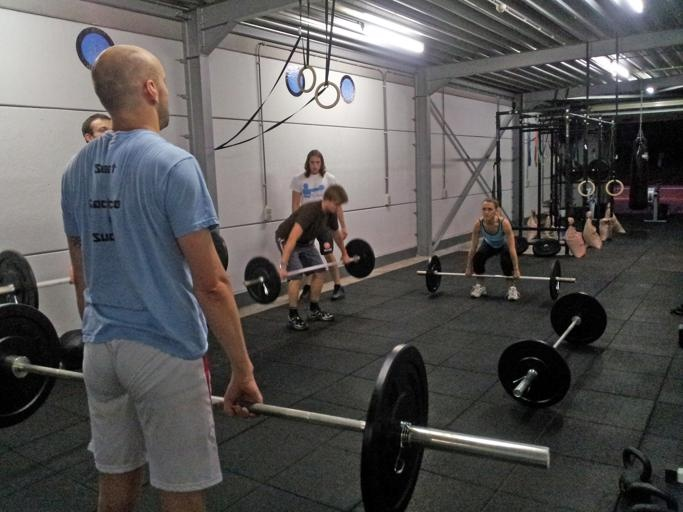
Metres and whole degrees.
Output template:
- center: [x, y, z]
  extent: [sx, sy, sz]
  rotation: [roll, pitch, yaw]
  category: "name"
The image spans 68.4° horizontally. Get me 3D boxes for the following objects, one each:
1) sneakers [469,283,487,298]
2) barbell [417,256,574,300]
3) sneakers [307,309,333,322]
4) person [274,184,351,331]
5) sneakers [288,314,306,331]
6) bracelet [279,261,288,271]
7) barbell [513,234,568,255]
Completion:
- center: [1.537, 0.392, 5.650]
  extent: [0.100, 0.135, 0.284]
  rotation: [-2, -3, 36]
  category: "sneakers"
- center: [1.889, 0.169, 6.069]
  extent: [1.809, 0.489, 0.970]
  rotation: [9, 9, 32]
  category: "barbell"
- center: [-0.207, 0.583, 4.926]
  extent: [0.220, 0.107, 0.107]
  rotation: [0, 1, 9]
  category: "sneakers"
- center: [-0.287, 0.013, 4.719]
  extent: [0.763, 1.431, 0.779]
  rotation: [9, 16, 25]
  category: "person"
- center: [-0.410, 0.629, 4.711]
  extent: [0.088, 0.095, 0.191]
  rotation: [-5, 4, -41]
  category: "sneakers"
- center: [-0.517, 0.086, 4.447]
  extent: [0.073, 0.101, 0.035]
  rotation: [-2, 7, -44]
  category: "bracelet"
- center: [3.214, -0.161, 8.042]
  extent: [0.735, 0.365, 0.648]
  rotation: [4, 16, 29]
  category: "barbell"
